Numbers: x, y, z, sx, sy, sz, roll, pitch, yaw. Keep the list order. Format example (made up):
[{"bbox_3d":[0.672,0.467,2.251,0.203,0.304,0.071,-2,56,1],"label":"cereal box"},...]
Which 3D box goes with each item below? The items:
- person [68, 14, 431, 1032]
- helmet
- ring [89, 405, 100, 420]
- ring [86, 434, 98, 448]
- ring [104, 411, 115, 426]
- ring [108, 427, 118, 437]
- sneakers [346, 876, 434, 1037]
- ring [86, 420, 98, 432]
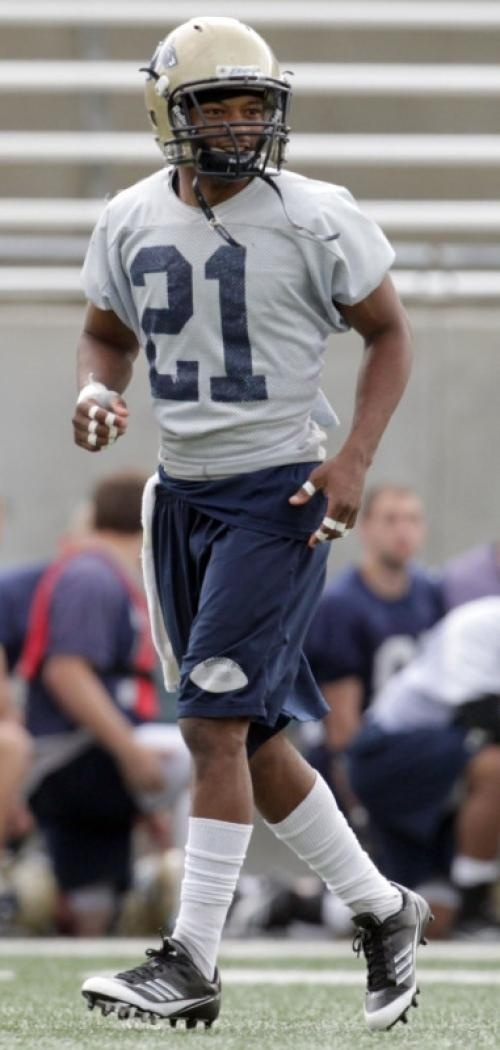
[{"bbox_3d":[0.041,-0.023,2.359,0.658,1.544,0.781,4,16,-8],"label":"person"},{"bbox_3d":[-0.075,-0.705,2.378,0.227,0.220,0.267,-4,12,-20],"label":"helmet"},{"bbox_3d":[-0.250,-0.182,2.315,0.014,0.019,0.019,13,-27,-11],"label":"ring"},{"bbox_3d":[-0.252,-0.138,2.320,0.017,0.014,0.017,19,43,-19],"label":"ring"},{"bbox_3d":[-0.220,-0.169,2.287,0.005,0.017,0.017,13,21,-33],"label":"ring"},{"bbox_3d":[-0.217,-0.149,2.297,0.014,0.014,0.015,-8,-7,-1],"label":"ring"},{"bbox_3d":[0.229,0.722,2.416,0.084,0.254,0.133,-20,-49,40],"label":"sneakers"},{"bbox_3d":[-0.251,-0.160,2.311,0.012,0.016,0.016,6,15,5],"label":"ring"}]
